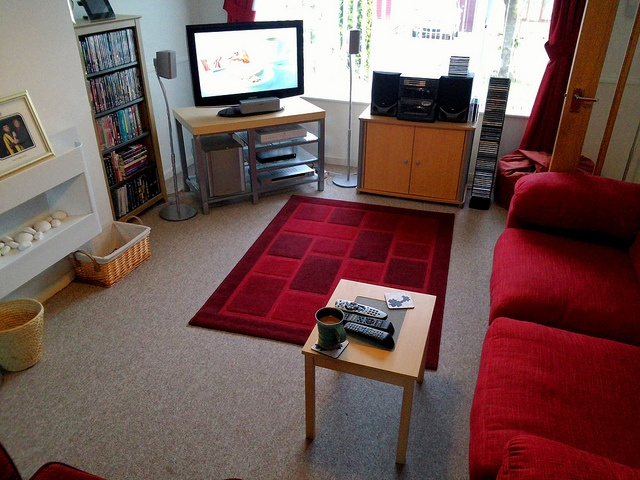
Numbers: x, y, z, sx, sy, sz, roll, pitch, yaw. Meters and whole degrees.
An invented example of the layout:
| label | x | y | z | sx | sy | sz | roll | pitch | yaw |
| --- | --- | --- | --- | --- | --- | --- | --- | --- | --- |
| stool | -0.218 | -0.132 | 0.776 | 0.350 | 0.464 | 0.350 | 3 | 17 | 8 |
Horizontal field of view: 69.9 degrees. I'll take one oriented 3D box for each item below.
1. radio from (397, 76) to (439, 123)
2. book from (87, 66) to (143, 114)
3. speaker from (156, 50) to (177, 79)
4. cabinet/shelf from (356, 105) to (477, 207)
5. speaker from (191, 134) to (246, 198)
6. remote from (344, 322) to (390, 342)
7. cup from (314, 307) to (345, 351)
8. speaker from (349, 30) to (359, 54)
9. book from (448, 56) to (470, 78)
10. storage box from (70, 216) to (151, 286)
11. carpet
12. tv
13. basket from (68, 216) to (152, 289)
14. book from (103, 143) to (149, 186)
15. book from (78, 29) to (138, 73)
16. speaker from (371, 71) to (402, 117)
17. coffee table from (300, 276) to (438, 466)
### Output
| label | x | y | z | sx | sy | sz | roll | pitch | yaw |
| --- | --- | --- | --- | --- | --- | --- | --- | --- | --- |
| radio | 0.919 | -1.337 | 4.416 | 0.381 | 0.405 | 0.417 | 7 | 51 | 12 |
| book | -1.742 | -1.291 | 3.912 | 0.037 | 0.286 | 0.574 | 11 | 31 | 20 |
| speaker | -1.339 | -1.502 | 3.916 | 0.190 | 0.210 | 0.204 | -6 | 29 | -10 |
| cabinet/shelf | 1.008 | -0.912 | 4.741 | 1.131 | 0.832 | 0.687 | 12 | 36 | 19 |
| speaker | -0.937 | -0.809 | 4.648 | 0.409 | 0.579 | 0.587 | -16 | 40 | -23 |
| remote | 0.243 | 0.464 | 2.339 | 0.258 | 0.044 | 0.069 | 14 | 32 | 23 |
| cup | 0.053 | 0.426 | 2.333 | 0.139 | 0.146 | 0.206 | -7 | 31 | -11 |
| speaker | 0.331 | -1.908 | 4.421 | 0.094 | 0.212 | 0.078 | 5 | 29 | 9 |
| book | 1.281 | -1.593 | 4.201 | 0.231 | 0.229 | 0.173 | 2 | 25 | 7 |
| storage box | -1.658 | 0.095 | 3.754 | 0.385 | 0.308 | 0.609 | 10 | 31 | 16 |
| carpet | 0.160 | 0.394 | 3.867 | 1.211 | 0.016 | 1.561 | 8 | 31 | 11 |
| tv | -0.707 | -1.626 | 4.348 | 0.982 | 0.666 | 0.099 | -11 | 28 | -16 |
| basket | -1.657 | 0.037 | 3.716 | 0.390 | 0.296 | 0.605 | 8 | 30 | 16 |
| book | -1.754 | -0.684 | 4.112 | 0.268 | 0.118 | 0.355 | 9 | 32 | 25 |
| book | -1.740 | -1.573 | 3.792 | 0.050 | 0.292 | 0.579 | 11 | 31 | 19 |
| speaker | 0.652 | -1.415 | 4.424 | 0.336 | 0.498 | 0.271 | 6 | 31 | 13 |
| coffee table | 0.271 | 0.690 | 2.536 | 0.577 | 0.603 | 0.718 | 10 | 30 | 17 |
